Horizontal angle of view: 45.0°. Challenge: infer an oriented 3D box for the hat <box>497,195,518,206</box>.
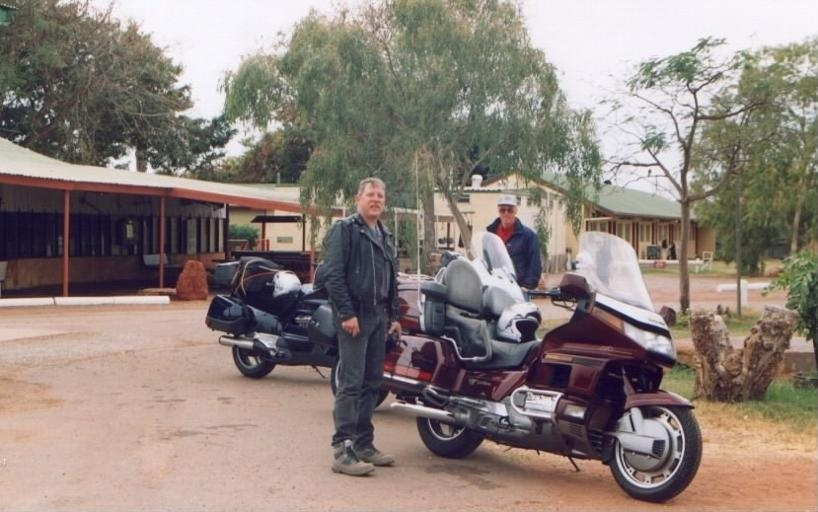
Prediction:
[{"bbox_3d":[1.833,-1.052,18.396,0.302,0.240,0.483,1,0,25],"label":"hat"}]
